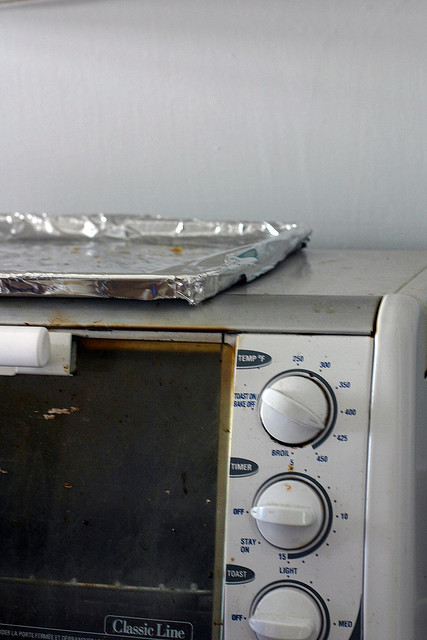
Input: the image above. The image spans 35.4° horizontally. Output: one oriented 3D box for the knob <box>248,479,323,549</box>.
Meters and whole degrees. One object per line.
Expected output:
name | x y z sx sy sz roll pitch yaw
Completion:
knob | 0.059 0.160 0.552 0.060 0.055 0.022 0 -8 3
